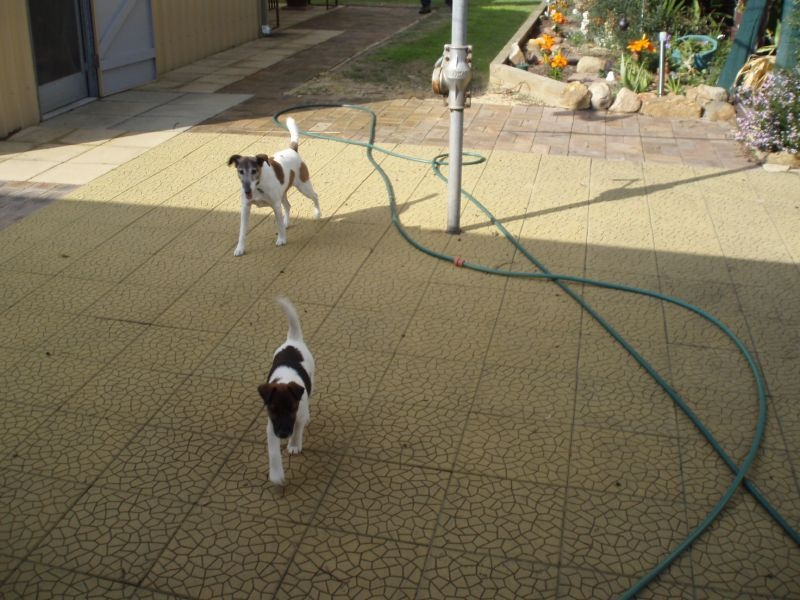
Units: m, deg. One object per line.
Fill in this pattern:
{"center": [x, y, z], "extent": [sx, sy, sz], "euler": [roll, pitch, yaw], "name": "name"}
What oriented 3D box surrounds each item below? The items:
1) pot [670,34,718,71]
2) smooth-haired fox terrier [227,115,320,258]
{"center": [6.066, -5.156, 12.073], "extent": [0.859, 0.625, 1.348], "euler": [11, 29, 10], "name": "pot"}
{"center": [-1.328, -1.227, 6.138], "extent": [0.660, 1.116, 1.986], "euler": [3, 23, 10], "name": "smooth-haired fox terrier"}
